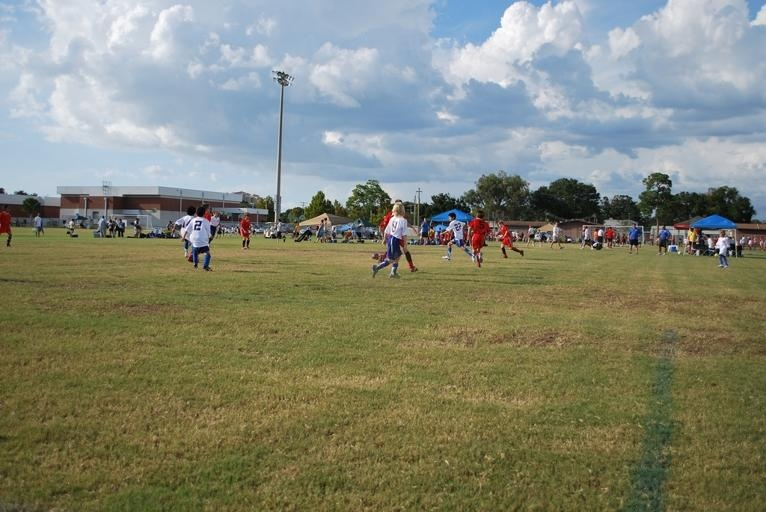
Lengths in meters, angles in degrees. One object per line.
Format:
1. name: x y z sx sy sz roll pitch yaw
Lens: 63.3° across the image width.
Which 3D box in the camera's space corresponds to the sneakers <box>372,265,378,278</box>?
1. sneakers: -0.193 0.382 14.747 0.137 0.317 0.109 3 10 -9
